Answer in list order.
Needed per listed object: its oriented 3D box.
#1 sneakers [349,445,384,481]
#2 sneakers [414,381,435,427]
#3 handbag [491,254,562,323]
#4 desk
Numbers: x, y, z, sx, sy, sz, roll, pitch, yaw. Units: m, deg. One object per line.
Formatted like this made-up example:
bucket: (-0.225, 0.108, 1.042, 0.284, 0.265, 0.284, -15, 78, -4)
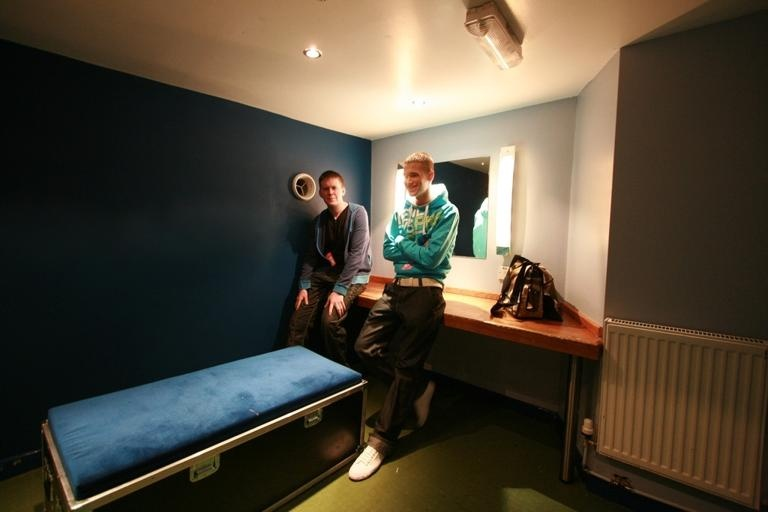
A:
sneakers: (-0.126, 1.482, 3.486, 0.116, 0.114, 0.300, 8, -7, 25)
sneakers: (0.317, 1.194, 3.995, 0.127, 0.394, 0.145, 26, -22, -25)
handbag: (1.046, 0.220, 3.937, 0.410, 0.638, 0.756, 2, 1, -17)
desk: (1.047, 0.935, 3.897, 1.196, 1.132, 0.809, 5, 9, 25)
